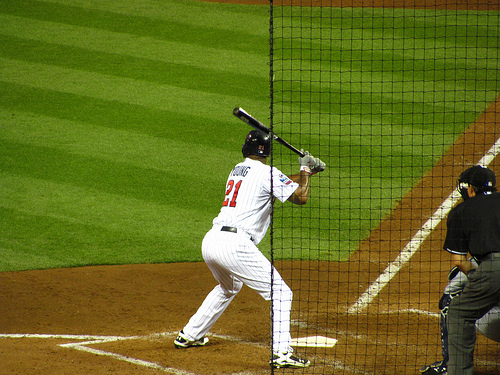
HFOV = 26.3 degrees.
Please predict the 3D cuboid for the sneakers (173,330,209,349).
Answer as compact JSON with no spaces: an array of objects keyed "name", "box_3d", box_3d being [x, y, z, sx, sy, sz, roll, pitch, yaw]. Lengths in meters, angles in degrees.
[{"name":"sneakers","box_3d":[-1.037,2.569,18.357,0.616,0.270,0.251,-2,4,-18]}]
